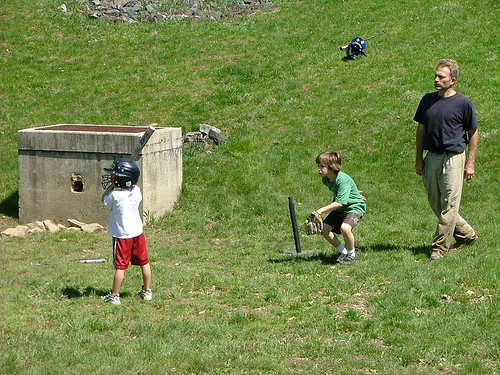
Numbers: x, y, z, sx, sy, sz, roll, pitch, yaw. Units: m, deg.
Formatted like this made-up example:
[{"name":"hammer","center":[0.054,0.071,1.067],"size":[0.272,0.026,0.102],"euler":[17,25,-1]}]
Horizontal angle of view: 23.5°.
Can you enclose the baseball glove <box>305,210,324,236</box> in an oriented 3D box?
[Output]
[{"name":"baseball glove","center":[1.558,0.876,29.688],"size":[0.391,0.575,0.256],"euler":[-1,1,14]}]

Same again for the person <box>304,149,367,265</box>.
[{"name":"person","center":[2.105,0.502,29.798],"size":[1.385,2.879,0.704],"euler":[-6,5,-34]}]

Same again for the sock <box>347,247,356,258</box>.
[{"name":"sock","center":[2.517,1.638,30.009],"size":[0.288,0.263,0.133],"euler":[-6,6,-38]}]

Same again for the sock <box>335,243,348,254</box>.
[{"name":"sock","center":[2.267,1.545,30.076],"size":[0.274,0.249,0.189],"euler":[-2,5,6]}]
